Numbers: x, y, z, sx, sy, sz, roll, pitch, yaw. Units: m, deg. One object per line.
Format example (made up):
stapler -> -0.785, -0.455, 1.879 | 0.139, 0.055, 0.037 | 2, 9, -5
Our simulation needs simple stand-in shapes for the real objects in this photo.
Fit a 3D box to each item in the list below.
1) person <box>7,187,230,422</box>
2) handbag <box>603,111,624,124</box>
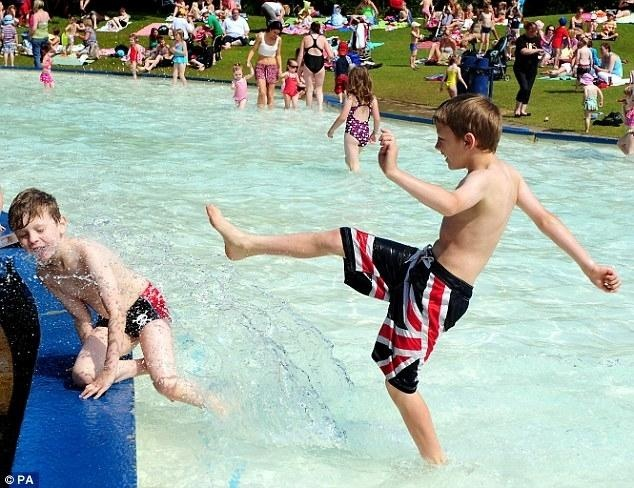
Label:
person -> -1.190, 0.301, 3.728 | 0.837, 1.180, 0.663 | -6, 16, -22
handbag -> 5.431, -2.277, 12.348 | 0.310, 0.173, 0.489 | 16, 23, 28
